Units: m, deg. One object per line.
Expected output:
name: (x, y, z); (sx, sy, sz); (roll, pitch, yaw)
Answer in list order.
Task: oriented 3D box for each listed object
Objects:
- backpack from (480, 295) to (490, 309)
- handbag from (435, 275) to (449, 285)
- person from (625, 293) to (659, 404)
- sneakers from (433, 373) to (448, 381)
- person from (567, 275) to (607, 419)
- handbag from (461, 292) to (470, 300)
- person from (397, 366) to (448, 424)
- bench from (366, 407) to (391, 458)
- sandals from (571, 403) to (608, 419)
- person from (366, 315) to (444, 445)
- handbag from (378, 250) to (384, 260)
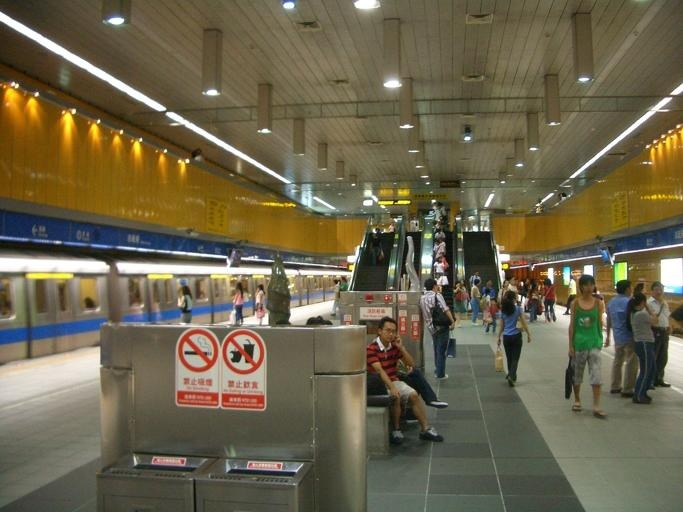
backpack: (4.001, 1.272, 14.433); (0.210, 0.440, 0.427); (9, -8, -16)
handbag: (3.125, 0.755, 16.069); (0.339, 0.206, 0.452); (3, -1, 11)
person: (4.249, 1.298, 7.360); (0.380, 1.544, 0.339); (5, 9, 35)
sneakers: (1.718, 2.083, 8.967); (0.259, 0.192, 0.095); (-4, -3, 4)
person: (3.308, 1.193, 6.924); (0.484, 1.864, 0.451); (4, 9, 28)
handbag: (3.680, 1.197, 15.237); (0.345, 0.227, 0.492); (1, -2, 7)
person: (1.133, 1.898, 7.065); (0.393, 0.317, 1.135); (3, -33, 22)
bench: (0.421, 1.991, 5.946); (0.250, 0.499, 0.329); (0, 8, 0)
sandals: (3.315, 2.054, 6.935); (0.147, 0.138, 0.461); (5, 0, -21)
person: (0.691, 1.479, 6.264); (0.919, 1.618, 0.765); (-3, 8, -23)
handbag: (1.371, -0.043, 18.001); (0.150, 0.317, 0.410); (3, 8, 20)
